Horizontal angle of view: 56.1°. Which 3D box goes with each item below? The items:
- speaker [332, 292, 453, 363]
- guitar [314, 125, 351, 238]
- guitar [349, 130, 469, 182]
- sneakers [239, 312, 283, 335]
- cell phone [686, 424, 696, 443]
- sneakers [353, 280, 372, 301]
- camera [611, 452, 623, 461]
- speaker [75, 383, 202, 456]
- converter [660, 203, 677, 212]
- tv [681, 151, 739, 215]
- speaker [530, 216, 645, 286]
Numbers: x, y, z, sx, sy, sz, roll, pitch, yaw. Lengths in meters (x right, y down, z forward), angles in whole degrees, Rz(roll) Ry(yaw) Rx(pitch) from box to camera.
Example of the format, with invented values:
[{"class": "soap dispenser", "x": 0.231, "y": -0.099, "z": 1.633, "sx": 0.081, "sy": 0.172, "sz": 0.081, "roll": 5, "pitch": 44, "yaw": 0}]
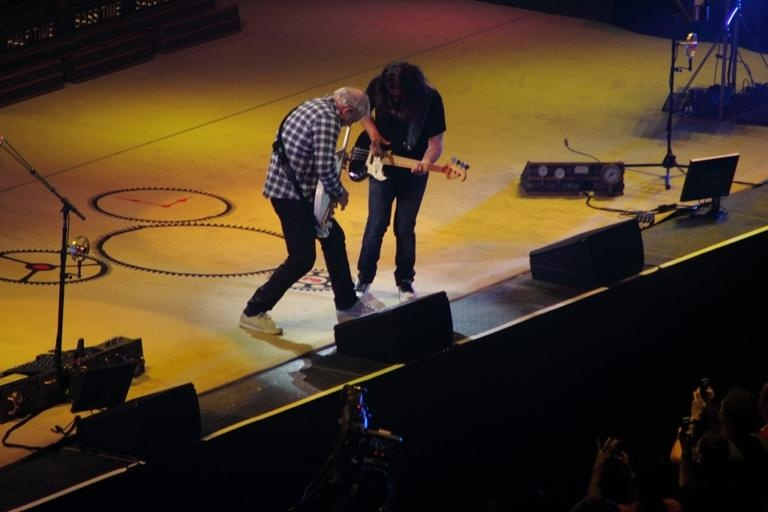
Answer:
[{"class": "speaker", "x": 0.058, "y": 0.407, "z": 4.375, "sx": 0.512, "sy": 0.288, "sz": 0.498, "roll": -14, "pitch": 21, "yaw": -42}, {"class": "guitar", "x": -0.357, "y": -0.523, "z": 5.088, "sx": 0.184, "sy": 0.713, "sz": 0.510, "roll": 1, "pitch": 21, "yaw": 14}, {"class": "guitar", "x": 0.271, "y": -0.703, "z": 5.232, "sx": 0.727, "sy": 0.299, "sz": 0.065, "roll": 16, "pitch": 44, "yaw": 41}, {"class": "sneakers", "x": -0.880, "y": 0.461, "z": 5.213, "sx": 0.358, "sy": 0.137, "sz": 0.127, "roll": 11, "pitch": 17, "yaw": 11}, {"class": "cell phone", "x": 2.004, "y": 1.159, "z": 4.729, "sx": 0.058, "sy": 0.037, "sz": 0.167, "roll": 7, "pitch": -24, "yaw": 30}, {"class": "sneakers", "x": -0.163, "y": 0.265, "z": 5.511, "sx": 0.122, "sy": 0.139, "sz": 0.157, "roll": -1, "pitch": -18, "yaw": 0}, {"class": "camera", "x": 1.473, "y": 1.259, "z": 4.559, "sx": 0.061, "sy": 0.014, "sz": 0.055, "roll": 14, "pitch": 11, "yaw": 23}, {"class": "speaker", "x": -1.244, "y": 0.807, "z": 3.768, "sx": 0.445, "sy": 0.250, "sz": 0.447, "roll": 13, "pitch": 15, "yaw": 31}, {"class": "converter", "x": 2.586, "y": -0.446, "z": 6.609, "sx": 0.173, "sy": 0.052, "sz": 0.136, "roll": 1, "pitch": 19, "yaw": 11}, {"class": "tv", "x": 2.825, "y": -0.616, "z": 6.303, "sx": 0.544, "sy": 0.519, "sz": 0.201, "roll": -19, "pitch": 25, "yaw": -36}, {"class": "speaker", "x": 1.426, "y": -0.011, "z": 5.161, "sx": 0.594, "sy": 0.326, "sz": 0.581, "roll": -1, "pitch": 7, "yaw": 29}]
